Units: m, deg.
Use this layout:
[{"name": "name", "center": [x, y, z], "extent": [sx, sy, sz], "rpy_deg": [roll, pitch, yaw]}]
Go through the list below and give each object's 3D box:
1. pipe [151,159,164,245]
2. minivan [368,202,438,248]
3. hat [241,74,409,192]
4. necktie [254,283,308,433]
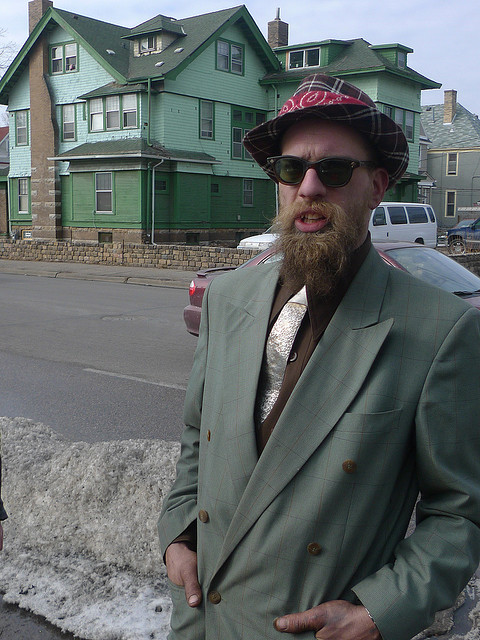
[{"name": "pipe", "center": [-3.835, -5.527, 28.303], "extent": [0.416, 3.793, 1.064], "rpy_deg": [2, 10, 8]}, {"name": "minivan", "center": [5.413, -3.186, 20.281], "extent": [1.016, 1.409, 3.764], "rpy_deg": [8, 12, 37]}, {"name": "hat", "center": [0.201, -0.494, 1.580], "extent": [0.445, 0.273, 0.334], "rpy_deg": [3, 10, 12]}, {"name": "necktie", "center": [0.114, 0.054, 1.523], "extent": [0.073, 0.026, 0.502], "rpy_deg": [5, 46, 26]}]
